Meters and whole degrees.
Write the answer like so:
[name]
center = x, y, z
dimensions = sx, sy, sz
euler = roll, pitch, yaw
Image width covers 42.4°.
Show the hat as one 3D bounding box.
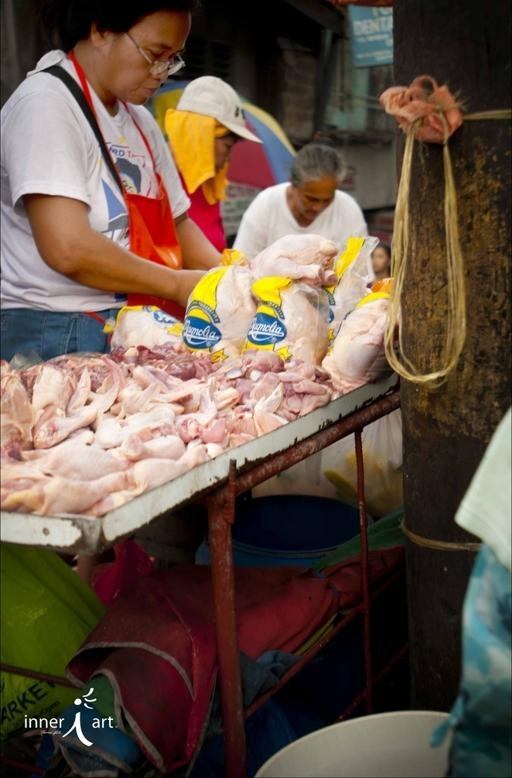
[hat]
center = -0.152, -1.148, 2.824
dimensions = 0.375, 0.199, 0.251
euler = 23, 16, -4
